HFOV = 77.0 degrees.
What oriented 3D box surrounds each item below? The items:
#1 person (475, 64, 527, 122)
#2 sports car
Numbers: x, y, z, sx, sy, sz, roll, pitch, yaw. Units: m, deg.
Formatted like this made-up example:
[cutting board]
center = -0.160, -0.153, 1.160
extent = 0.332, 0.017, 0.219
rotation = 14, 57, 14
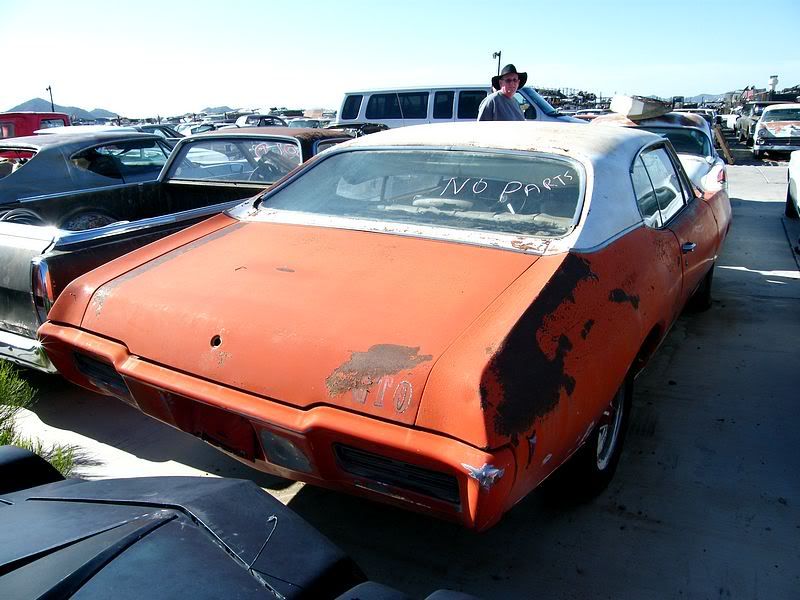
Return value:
[person]
center = 1.191, -2.250, 5.672
extent = 0.637, 0.725, 0.409
rotation = 1, 33, -2
[sports car]
center = 0.020, 0.037, 2.589
extent = 2.143, 1.801, 2.317
rotation = 9, 23, 34
